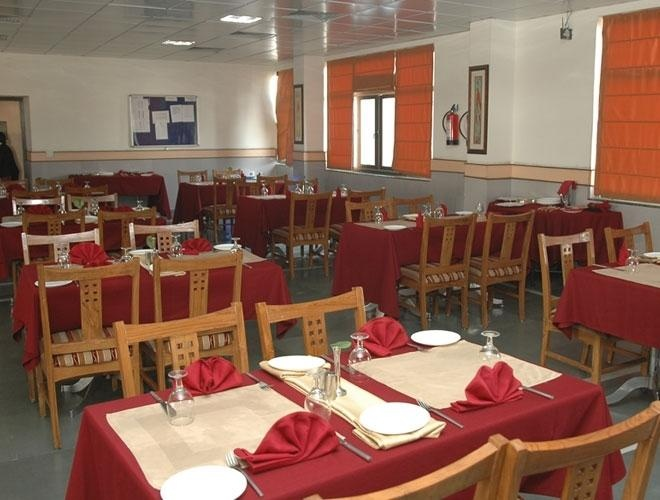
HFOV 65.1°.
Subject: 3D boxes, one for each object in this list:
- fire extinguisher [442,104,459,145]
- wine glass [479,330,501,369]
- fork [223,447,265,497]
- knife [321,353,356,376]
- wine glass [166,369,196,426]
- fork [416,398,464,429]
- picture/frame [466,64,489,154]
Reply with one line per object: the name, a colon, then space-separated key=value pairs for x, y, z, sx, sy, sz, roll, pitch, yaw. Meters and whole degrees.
fire extinguisher: x=1.930 y=-1.985 z=8.221 sx=0.144 sy=0.637 sz=0.447 roll=-6 pitch=15 yaw=-21
wine glass: x=0.657 y=0.410 z=2.139 sx=0.100 sy=0.154 sz=0.104 roll=3 pitch=-3 yaw=6
fork: x=-0.253 y=0.636 z=1.500 sx=0.051 sy=0.029 sz=0.244 roll=-25 pitch=22 yaw=-10
knife: x=0.040 y=0.459 z=2.239 sx=0.047 sy=0.031 sz=0.433 roll=-5 pitch=8 yaw=-12
wine glass: x=-0.515 y=0.503 z=1.757 sx=0.073 sy=0.137 sz=0.074 roll=14 pitch=37 yaw=0
fork: x=0.377 y=0.565 z=1.817 sx=0.041 sy=0.037 sz=0.309 roll=-24 pitch=11 yaw=-10
picture/frame: x=2.106 y=-1.979 z=7.361 sx=0.392 sy=1.220 sz=0.058 roll=-12 pitch=17 yaw=-28
